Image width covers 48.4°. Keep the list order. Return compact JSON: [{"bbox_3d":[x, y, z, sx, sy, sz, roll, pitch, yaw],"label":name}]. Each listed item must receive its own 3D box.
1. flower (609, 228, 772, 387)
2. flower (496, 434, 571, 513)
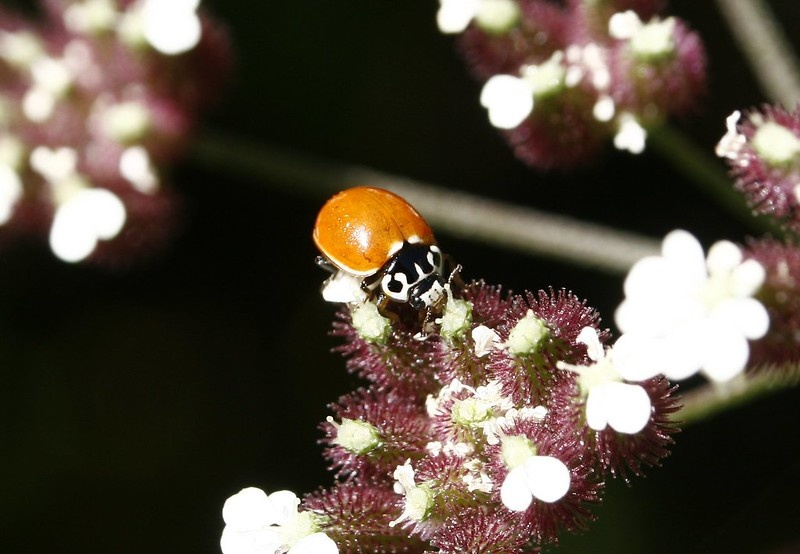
[{"bbox_3d":[0.588,0.071,1.785,0.301,0.140,0.332,7,56,10],"label":"flower"},{"bbox_3d":[0.262,0.376,1.732,0.128,0.063,0.131,-2,55,5],"label":"flower"}]
